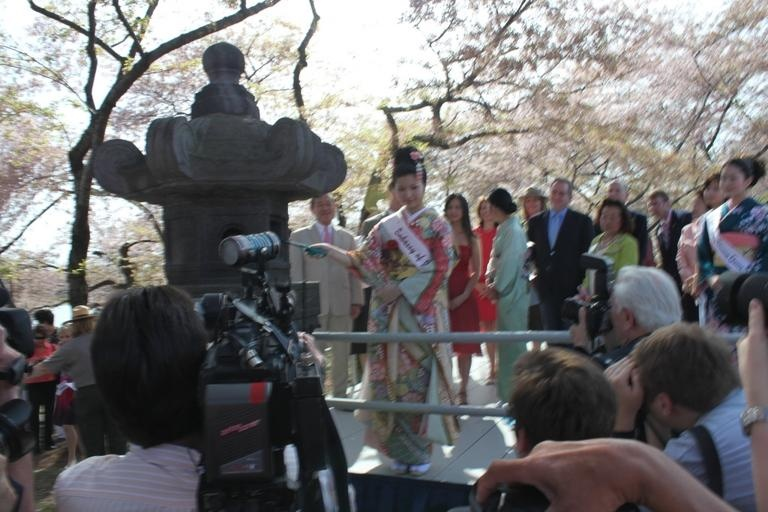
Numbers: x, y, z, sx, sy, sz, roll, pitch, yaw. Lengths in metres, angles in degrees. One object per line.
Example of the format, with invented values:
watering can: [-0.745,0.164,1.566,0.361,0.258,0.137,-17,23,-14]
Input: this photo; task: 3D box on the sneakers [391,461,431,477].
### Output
sneakers: [0.186,1.467,5.253,0.207,0.077,0.101,-3,-2,13]

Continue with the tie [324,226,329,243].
tie: [-0.545,-0.204,7.201,0.040,0.126,0.099,-3,10,6]

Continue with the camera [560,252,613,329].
camera: [1.163,0.223,4.256,0.177,0.464,0.267,-5,10,-42]
